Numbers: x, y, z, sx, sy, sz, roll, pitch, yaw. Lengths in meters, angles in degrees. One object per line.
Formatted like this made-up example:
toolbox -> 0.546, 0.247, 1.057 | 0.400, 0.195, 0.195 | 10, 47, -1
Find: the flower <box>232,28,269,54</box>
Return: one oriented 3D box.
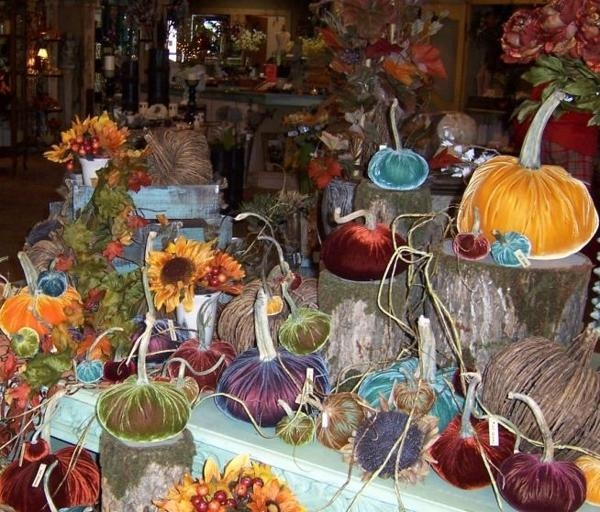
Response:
flower -> -1.197, -4.870, 11.551 | 0.659, 0.630, 0.715 | 18, 30, 23
